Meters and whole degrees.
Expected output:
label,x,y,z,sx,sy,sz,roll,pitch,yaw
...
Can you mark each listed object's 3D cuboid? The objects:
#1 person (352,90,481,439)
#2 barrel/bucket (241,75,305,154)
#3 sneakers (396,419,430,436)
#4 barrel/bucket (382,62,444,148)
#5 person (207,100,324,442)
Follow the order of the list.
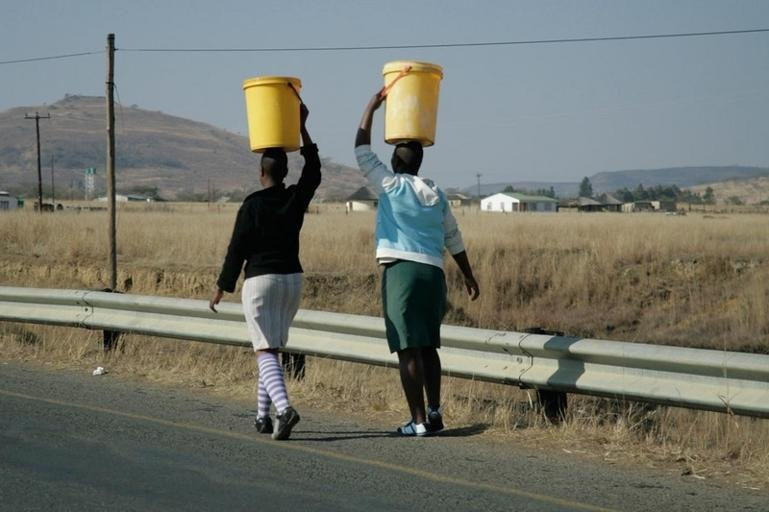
label,x,y,z,sx,sy,sz,roll,pitch,yaw
person,0.341,0.062,10.905,1.314,4.061,0.856,2,10,5
barrel/bucket,-1.358,-1.774,11.213,0.762,0.836,0.790,-3,4,0
sneakers,0.347,2.068,10.961,0.398,0.202,0.155,4,4,31
barrel/bucket,0.340,-1.896,11.153,0.736,0.885,0.785,2,-3,0
person,-1.311,0.162,10.890,1.039,3.936,1.153,11,14,42
